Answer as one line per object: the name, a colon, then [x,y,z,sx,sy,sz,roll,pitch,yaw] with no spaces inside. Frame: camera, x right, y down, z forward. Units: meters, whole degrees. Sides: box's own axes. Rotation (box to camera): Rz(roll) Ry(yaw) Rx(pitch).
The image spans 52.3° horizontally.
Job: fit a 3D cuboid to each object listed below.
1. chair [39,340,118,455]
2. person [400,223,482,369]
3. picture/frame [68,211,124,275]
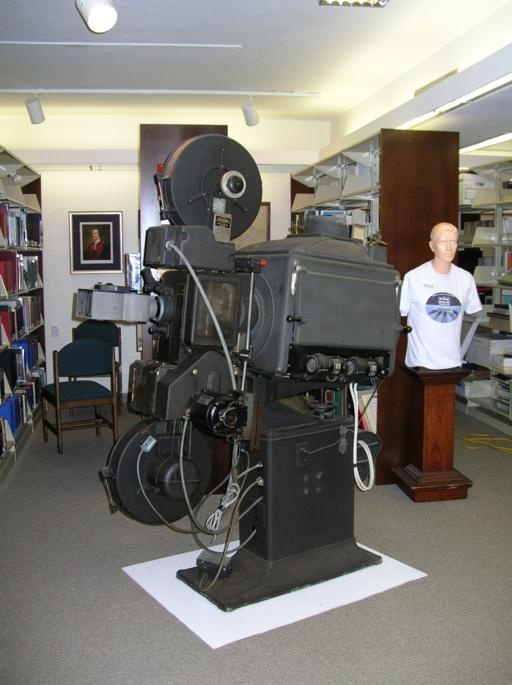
chair: [-1.534,0.415,4.461,0.674,0.848,0.677,-3,-2,9]
person: [1.103,-0.265,3.123,0.506,0.814,0.337,-1,0,3]
picture/frame: [-1.899,-1.198,6.096,0.753,0.839,0.030,-1,6,-12]
